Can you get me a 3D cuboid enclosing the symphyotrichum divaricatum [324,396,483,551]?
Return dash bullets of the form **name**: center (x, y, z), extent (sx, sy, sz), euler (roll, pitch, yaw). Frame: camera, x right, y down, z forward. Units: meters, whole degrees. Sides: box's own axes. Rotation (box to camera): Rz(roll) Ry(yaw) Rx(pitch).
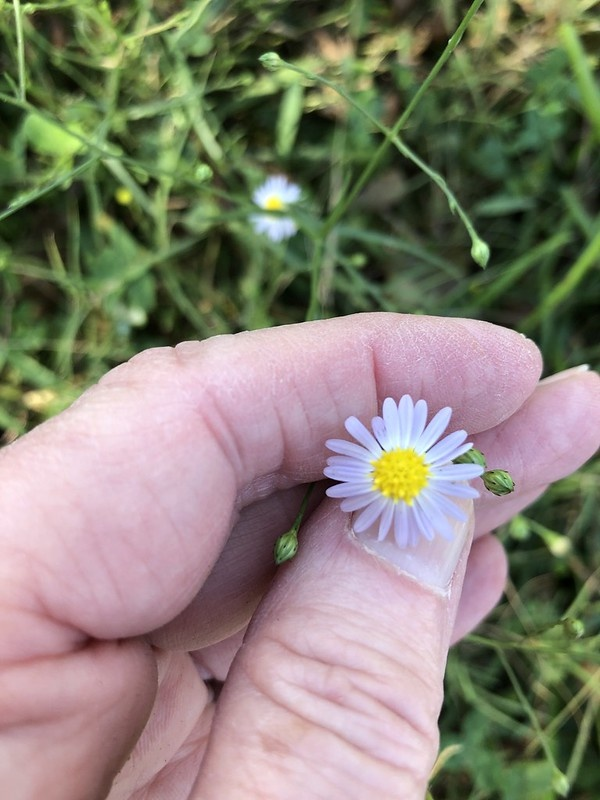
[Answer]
- **symphyotrichum divaricatum**: center (0.184, 0.122, 1.311), extent (0.319, 0.074, 0.281), euler (-3, 54, 31)
